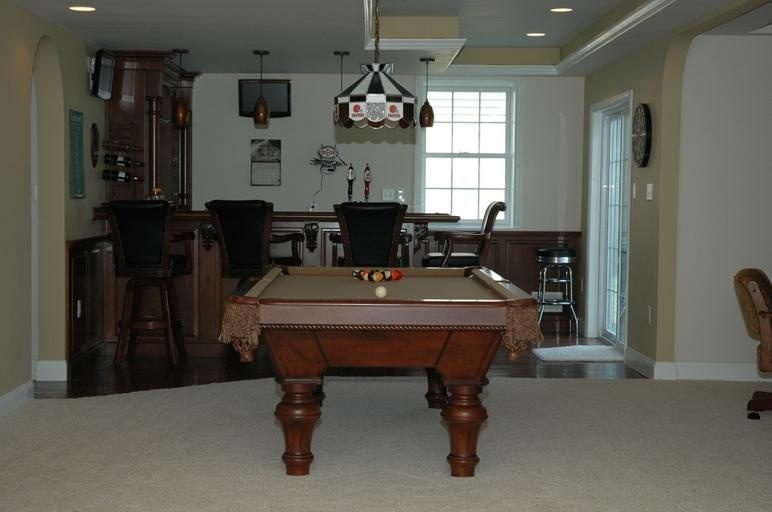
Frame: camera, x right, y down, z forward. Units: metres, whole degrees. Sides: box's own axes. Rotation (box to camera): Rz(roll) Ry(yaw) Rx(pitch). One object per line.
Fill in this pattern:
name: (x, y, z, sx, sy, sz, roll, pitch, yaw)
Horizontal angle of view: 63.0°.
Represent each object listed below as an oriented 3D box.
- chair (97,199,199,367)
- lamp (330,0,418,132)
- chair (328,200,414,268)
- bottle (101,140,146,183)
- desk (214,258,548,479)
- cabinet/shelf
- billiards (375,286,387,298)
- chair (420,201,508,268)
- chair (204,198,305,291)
chair: (-2.318, 0.238, 6.239, 0.777, 1.602, 0.556, -1, 9, -10)
lamp: (0.059, -1.183, 4.411, 0.577, 0.921, 0.573, 2, 6, 17)
chair: (-0.101, -0.224, 6.116, 0.624, 0.855, 0.638, 1, 3, -2)
bottle: (-2.854, -1.017, 6.757, 0.358, 0.436, 0.105, -5, 0, -33)
desk: (-0.002, 0.513, 4.426, 1.671, 0.963, 1.478, 0, 2, 0)
cabinet/shelf: (-2.673, -1.454, 6.998, 0.597, 1.629, 1.780, 0, 5, -5)
billiards: (-0.038, 0.229, 4.006, 0.058, 0.032, 0.058, 1, 45, 9)
chair: (0.827, -0.202, 6.929, 0.868, 1.086, 0.774, 4, -1, 2)
chair: (-1.331, -0.191, 6.425, 0.921, 1.163, 0.888, 1, 9, 8)
